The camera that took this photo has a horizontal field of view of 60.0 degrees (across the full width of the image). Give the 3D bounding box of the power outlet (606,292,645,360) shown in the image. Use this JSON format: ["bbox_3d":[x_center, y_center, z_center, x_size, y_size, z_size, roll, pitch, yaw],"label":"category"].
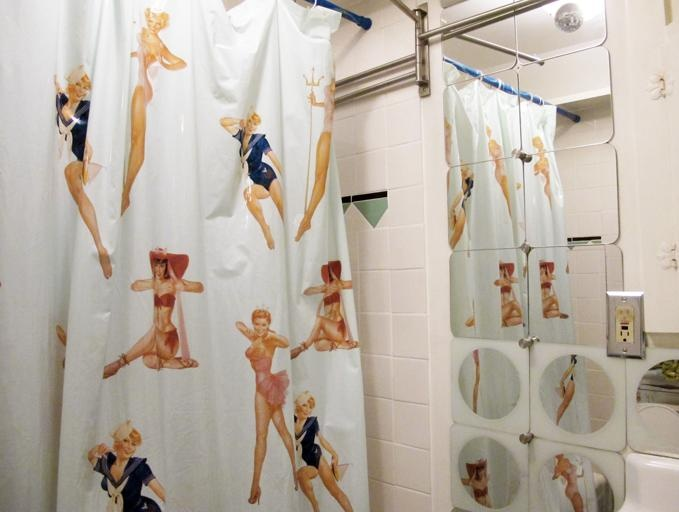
[{"bbox_3d":[0.811,0.200,1.668,0.102,0.219,0.024,-2,-39,29],"label":"power outlet"}]
